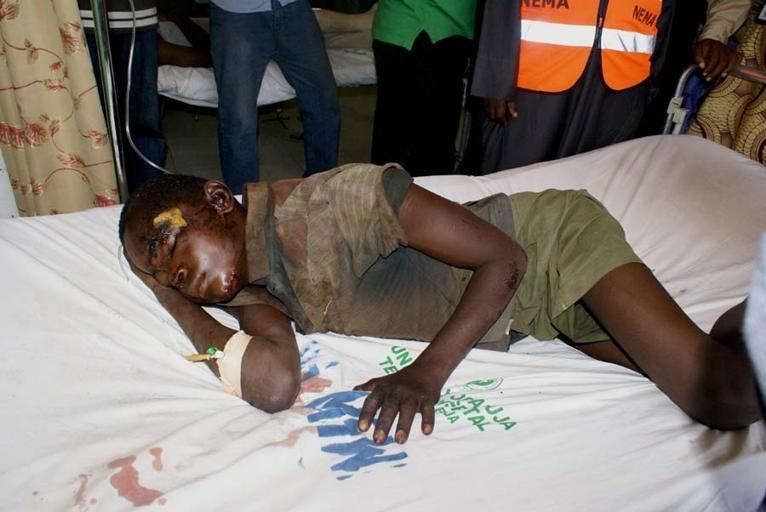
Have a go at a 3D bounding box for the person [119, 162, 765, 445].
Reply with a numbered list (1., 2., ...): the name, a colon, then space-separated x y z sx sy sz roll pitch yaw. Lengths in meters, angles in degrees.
1. person: 0.117 0.129 1.916 2.379 0.720 0.792 0 3 3

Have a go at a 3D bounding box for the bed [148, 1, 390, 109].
1. bed: -0.699 -1.250 3.741 1.284 0.517 0.988 -12 63 -5
